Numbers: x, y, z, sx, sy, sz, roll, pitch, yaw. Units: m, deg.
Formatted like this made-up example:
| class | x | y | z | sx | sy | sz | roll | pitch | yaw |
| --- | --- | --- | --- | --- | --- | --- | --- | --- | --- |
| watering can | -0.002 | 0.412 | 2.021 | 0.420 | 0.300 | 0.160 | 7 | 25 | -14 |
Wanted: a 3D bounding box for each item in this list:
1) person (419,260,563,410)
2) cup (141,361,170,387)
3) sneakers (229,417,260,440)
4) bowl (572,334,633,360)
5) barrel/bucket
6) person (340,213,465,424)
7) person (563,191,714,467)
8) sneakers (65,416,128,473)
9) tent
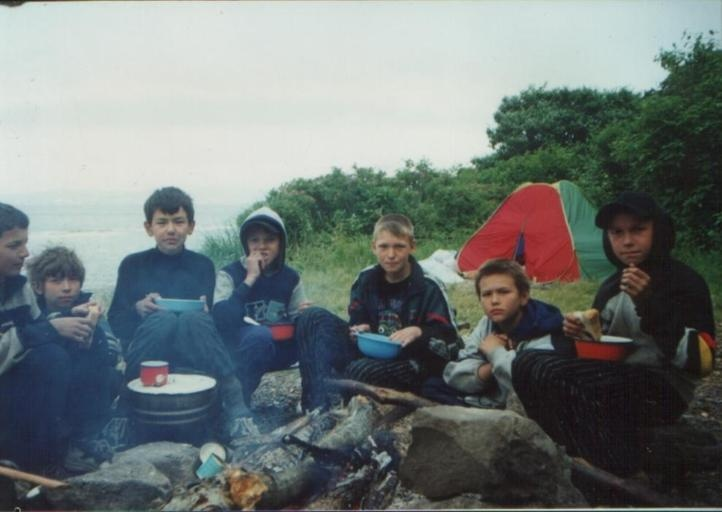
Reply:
| class | x | y | z | sx | sy | sz | roll | pitch | yaw |
| --- | --- | --- | --- | --- | --- | --- | --- | --- | --- |
| person | 0.969 | 0.560 | 5.344 | 1.042 | 1.100 | 1.022 | -1 | -3 | 26 |
| cup | -1.490 | 0.858 | 5.334 | 0.172 | 0.128 | 0.175 | 2 | -7 | 0 |
| sneakers | -0.871 | 1.265 | 5.410 | 0.218 | 0.151 | 0.079 | -3 | 5 | -8 |
| bowl | 1.745 | 0.647 | 5.172 | 0.429 | 0.166 | 0.251 | -6 | 5 | -35 |
| barrel/bucket | -1.462 | 1.184 | 5.592 | 0.672 | 0.381 | 0.670 | -2 | -5 | 0 |
| person | 0.224 | 0.433 | 5.367 | 0.886 | 1.454 | 0.897 | 0 | -5 | 29 |
| person | 1.926 | 0.539 | 5.269 | 1.183 | 1.972 | 0.291 | -3 | 5 | -7 |
| sneakers | -1.952 | 1.378 | 5.330 | 0.663 | 0.278 | 0.228 | -6 | -12 | 36 |
| tent | 1.355 | -0.149 | 5.380 | 0.858 | 0.548 | 0.873 | 0 | 1 | -45 |
